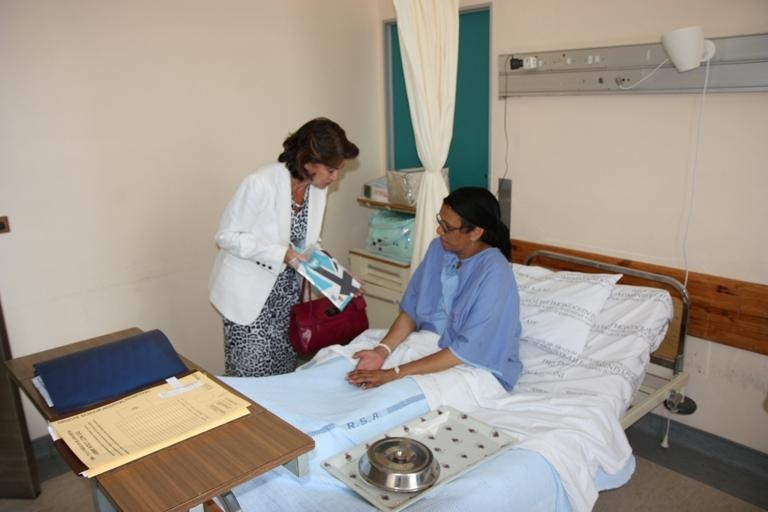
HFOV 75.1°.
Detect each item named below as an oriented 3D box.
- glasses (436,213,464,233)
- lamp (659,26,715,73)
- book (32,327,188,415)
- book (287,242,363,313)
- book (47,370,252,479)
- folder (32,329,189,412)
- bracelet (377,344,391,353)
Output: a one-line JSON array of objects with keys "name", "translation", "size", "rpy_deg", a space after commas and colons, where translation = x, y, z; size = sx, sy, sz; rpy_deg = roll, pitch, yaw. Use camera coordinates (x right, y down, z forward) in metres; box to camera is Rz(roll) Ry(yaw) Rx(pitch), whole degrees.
[{"name": "glasses", "translation": [0.363, -0.182, 2.678], "size": [0.115, 0.037, 0.113], "rpy_deg": [-4, 28, -35]}, {"name": "lamp", "translation": [1.614, -1.075, 2.702], "size": [0.281, 0.215, 0.210], "rpy_deg": [-15, 6, -5]}, {"name": "book", "translation": [-1.050, 0.440, 1.926], "size": [0.358, 0.099, 0.312], "rpy_deg": [-19, 33, -32]}, {"name": "book", "translation": [-0.373, 0.146, 3.071], "size": [0.435, 0.245, 0.046], "rpy_deg": [35, -27, -11]}, {"name": "book", "translation": [-0.814, 0.578, 1.762], "size": [0.437, 0.050, 0.377], "rpy_deg": [-17, 26, -40]}, {"name": "folder", "translation": [-1.050, 0.443, 1.923], "size": [0.356, 0.093, 0.312], "rpy_deg": [-19, 31, -30]}, {"name": "bracelet", "translation": [0.001, 0.524, 2.816], "size": [0.055, 0.014, 0.056], "rpy_deg": [7, 7, -41]}]
